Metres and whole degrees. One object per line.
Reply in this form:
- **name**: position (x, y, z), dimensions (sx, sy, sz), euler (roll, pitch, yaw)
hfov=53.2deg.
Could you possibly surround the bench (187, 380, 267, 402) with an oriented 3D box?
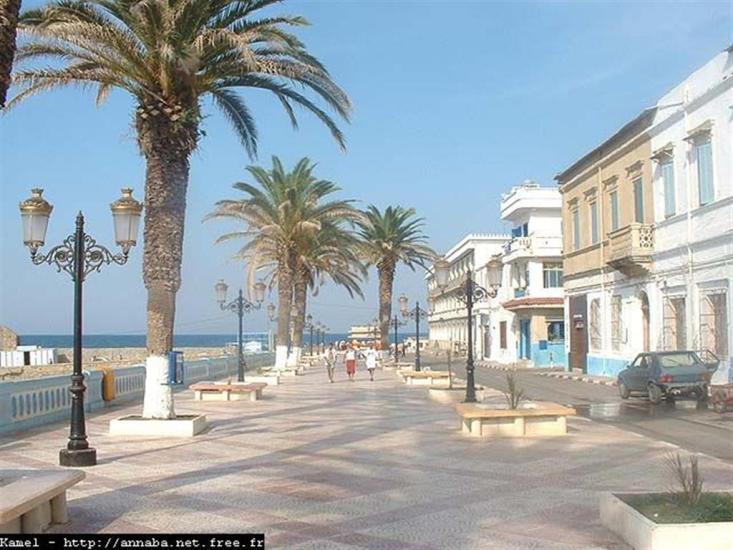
- **bench**: position (-4.693, 3.959, 24.699), dimensions (2.254, 0.595, 1.189), euler (0, -8, -5)

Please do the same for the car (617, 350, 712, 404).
- **car**: position (9.206, 3.229, 23.051), dimensions (1.107, 1.603, 2.915), euler (2, -9, -19)
